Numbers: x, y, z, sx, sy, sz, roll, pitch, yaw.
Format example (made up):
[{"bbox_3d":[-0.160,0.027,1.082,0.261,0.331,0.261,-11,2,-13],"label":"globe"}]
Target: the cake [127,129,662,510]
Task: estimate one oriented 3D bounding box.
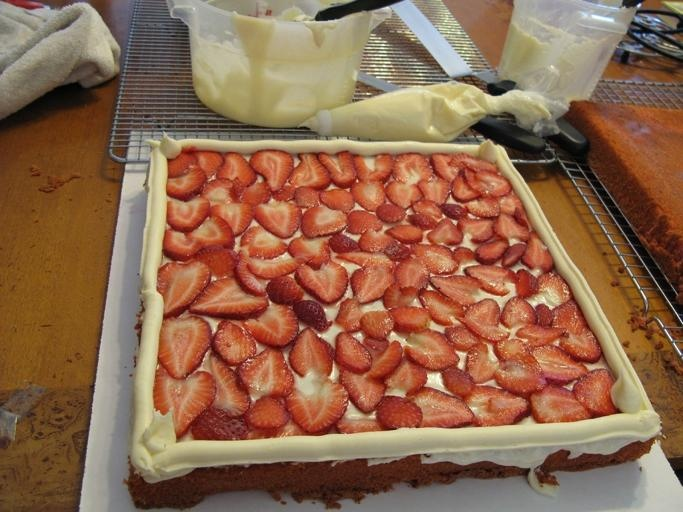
[{"bbox_3d":[0.092,0.131,1.922,1.445,0.368,1.229,0,55,-12],"label":"cake"}]
